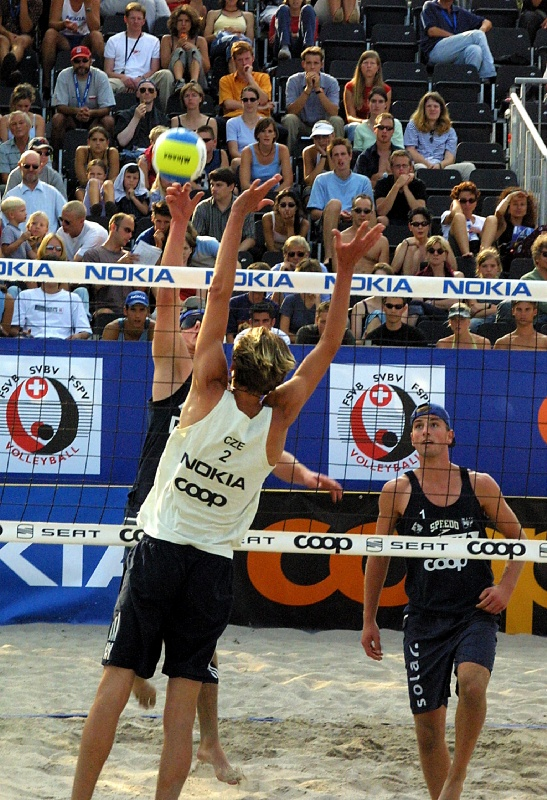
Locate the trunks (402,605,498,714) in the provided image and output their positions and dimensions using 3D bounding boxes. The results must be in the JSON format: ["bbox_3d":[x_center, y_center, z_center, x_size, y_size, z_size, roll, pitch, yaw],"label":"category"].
[{"bbox_3d":[0.651,0.937,4.150,0.312,0.389,0.226,-3,-27,9],"label":"trunks"}]

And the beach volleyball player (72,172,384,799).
[{"bbox_3d":[-0.167,0.260,3.598,0.918,1.970,0.416,1,6,-11],"label":"beach volleyball player"}]
